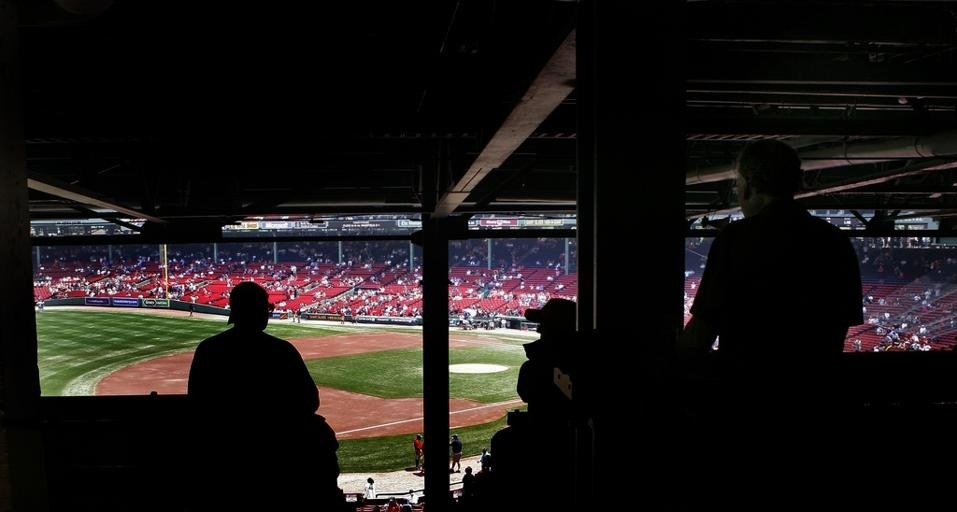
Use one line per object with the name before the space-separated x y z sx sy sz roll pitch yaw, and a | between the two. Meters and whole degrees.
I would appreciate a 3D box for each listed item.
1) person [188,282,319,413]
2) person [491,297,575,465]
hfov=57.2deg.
person | -2.501 1.006 9.896 1.295 1.435 0.518 0 -4 21
person | 0.616 1.391 9.733 0.891 1.875 1.512 2 -4 3
